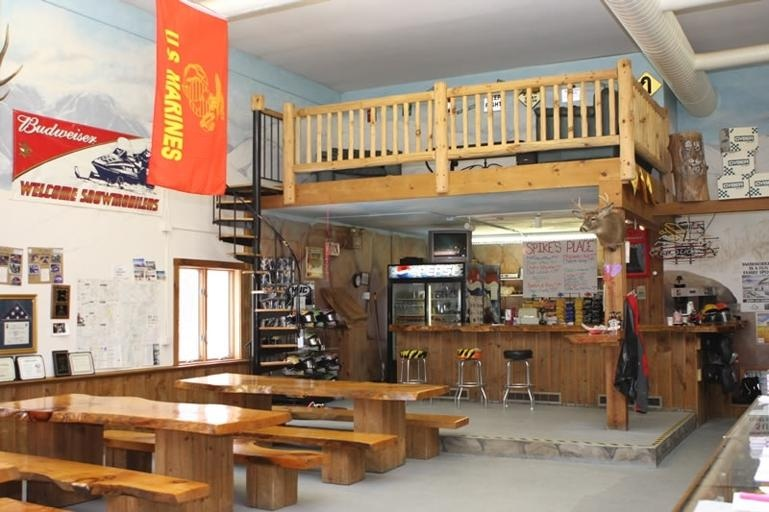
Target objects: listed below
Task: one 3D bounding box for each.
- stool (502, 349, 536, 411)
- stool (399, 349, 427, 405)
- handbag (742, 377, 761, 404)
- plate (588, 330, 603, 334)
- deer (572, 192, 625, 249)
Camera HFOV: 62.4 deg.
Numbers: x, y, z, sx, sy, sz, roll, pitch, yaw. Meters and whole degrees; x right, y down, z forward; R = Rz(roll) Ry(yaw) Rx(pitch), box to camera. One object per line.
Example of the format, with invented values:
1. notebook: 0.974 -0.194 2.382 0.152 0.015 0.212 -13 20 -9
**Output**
1. stool: 2.317 2.120 11.030 0.559 0.998 0.563 -1 -3 26
2. stool: 0.559 2.110 12.013 0.725 0.641 0.647 1 -13 -8
3. handbag: 6.298 2.295 10.879 0.299 0.417 0.726 -6 -8 28
4. plate: 3.005 1.069 9.027 0.161 0.057 0.056 0 -7 -17
5. deer: 3.103 -0.504 9.038 0.784 0.825 0.362 2 -9 -34
